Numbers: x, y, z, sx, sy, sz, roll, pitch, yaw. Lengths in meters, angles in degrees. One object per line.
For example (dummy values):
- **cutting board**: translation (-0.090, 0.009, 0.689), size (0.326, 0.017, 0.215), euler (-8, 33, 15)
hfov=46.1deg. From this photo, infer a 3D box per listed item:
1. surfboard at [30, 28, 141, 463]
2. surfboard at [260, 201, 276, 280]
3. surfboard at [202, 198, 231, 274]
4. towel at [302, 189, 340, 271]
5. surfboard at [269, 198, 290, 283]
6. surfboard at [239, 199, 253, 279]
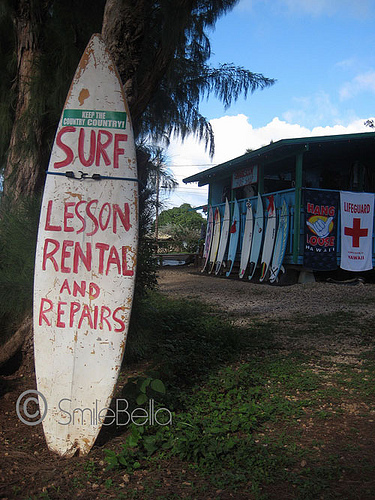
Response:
- **surfboard**: translation (-0.719, -0.262, 3.216), size (0.632, 0.243, 2.811), euler (3, -26, -14)
- **surfboard**: translation (1.742, -0.281, 9.341), size (0.225, 1.755, 0.254), euler (13, -7, -37)
- **surfboard**: translation (0.868, -0.408, 12.321), size (0.690, 1.998, 0.253), euler (1, -11, 28)
- **towel**: translation (2.680, -0.414, 8.748), size (0.835, 1.614, 0.167), euler (4, 1, -22)
- **surfboard**: translation (1.883, -0.211, 8.913), size (0.251, 1.644, 0.356), euler (15, -10, -41)
- **surfboard**: translation (1.411, -0.293, 10.373), size (0.204, 1.847, 0.295), euler (17, -14, -30)
